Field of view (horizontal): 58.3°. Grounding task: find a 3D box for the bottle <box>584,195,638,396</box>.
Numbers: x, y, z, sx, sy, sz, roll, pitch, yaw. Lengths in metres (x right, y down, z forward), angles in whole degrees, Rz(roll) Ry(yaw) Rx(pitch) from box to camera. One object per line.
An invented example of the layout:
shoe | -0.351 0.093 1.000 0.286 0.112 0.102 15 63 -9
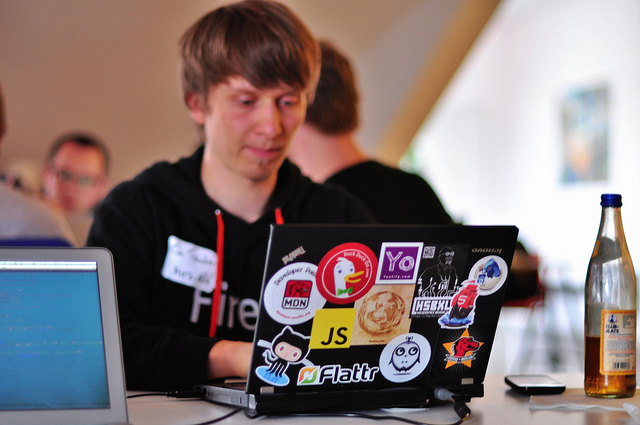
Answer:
bottle | 0.908 0.263 1.802 0.155 0.618 0.153 1 -8 0
